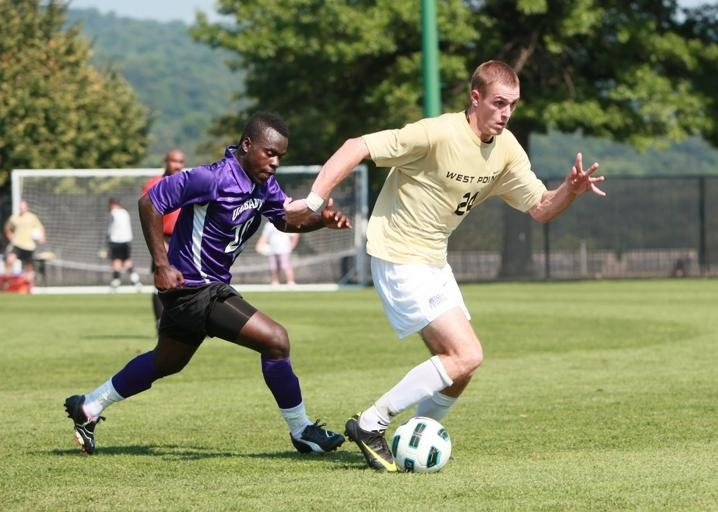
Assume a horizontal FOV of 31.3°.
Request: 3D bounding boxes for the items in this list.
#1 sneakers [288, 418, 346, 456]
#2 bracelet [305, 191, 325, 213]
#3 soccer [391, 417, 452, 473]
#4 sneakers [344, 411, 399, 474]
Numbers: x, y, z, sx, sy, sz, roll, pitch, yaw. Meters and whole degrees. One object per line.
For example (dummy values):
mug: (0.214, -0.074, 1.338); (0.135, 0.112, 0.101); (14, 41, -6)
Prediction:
sneakers: (-0.319, 1.444, 10.155); (0.501, 0.276, 0.197); (-8, -4, 18)
bracelet: (-0.329, -0.412, 9.686); (0.133, 0.145, 0.294); (0, 1, -2)
soccer: (0.573, 1.482, 9.844); (0.466, 0.450, 0.453); (-18, -3, -3)
sneakers: (0.126, 1.428, 9.856); (0.271, 0.516, 0.233); (-40, -7, 16)
